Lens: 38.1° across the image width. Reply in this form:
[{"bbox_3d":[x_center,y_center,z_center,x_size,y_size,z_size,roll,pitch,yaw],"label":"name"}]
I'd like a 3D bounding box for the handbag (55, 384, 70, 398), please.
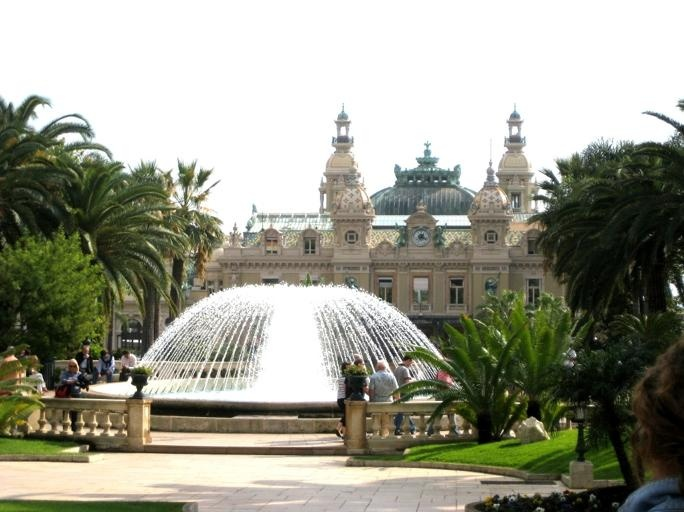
[{"bbox_3d":[-6.427,3.082,22.842,0.288,0.346,0.225,1,-2,4],"label":"handbag"}]

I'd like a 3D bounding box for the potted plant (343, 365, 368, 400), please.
[{"bbox_3d":[0.334,2.706,21.382,0.560,0.793,0.593,-3,3,-29],"label":"potted plant"}]

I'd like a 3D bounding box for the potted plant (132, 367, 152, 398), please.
[{"bbox_3d":[-4.425,2.752,21.781,0.450,0.691,0.468,3,-1,-6],"label":"potted plant"}]

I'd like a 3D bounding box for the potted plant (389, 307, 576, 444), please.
[{"bbox_3d":[3.037,2.423,21.511,2.989,2.945,2.851,6,-6,-40],"label":"potted plant"}]
